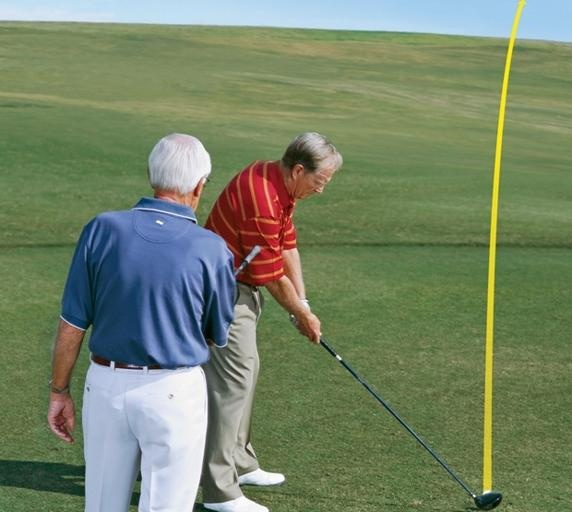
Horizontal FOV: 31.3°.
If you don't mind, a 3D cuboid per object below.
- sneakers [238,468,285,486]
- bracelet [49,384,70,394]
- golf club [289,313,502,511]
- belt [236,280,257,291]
[{"bbox_3d":[-0.142,1.302,6.055,0.274,0.105,0.103,-2,16,1],"label":"sneakers"},{"bbox_3d":[-1.177,0.683,5.242,0.073,0.023,0.072,0,-1,21],"label":"bracelet"},{"bbox_3d":[0.691,1.028,6.483,0.146,1.340,0.233,-44,-1,-22],"label":"golf club"},{"bbox_3d":[-0.224,0.172,5.856,0.063,0.016,0.065,15,-12,30],"label":"belt"}]
